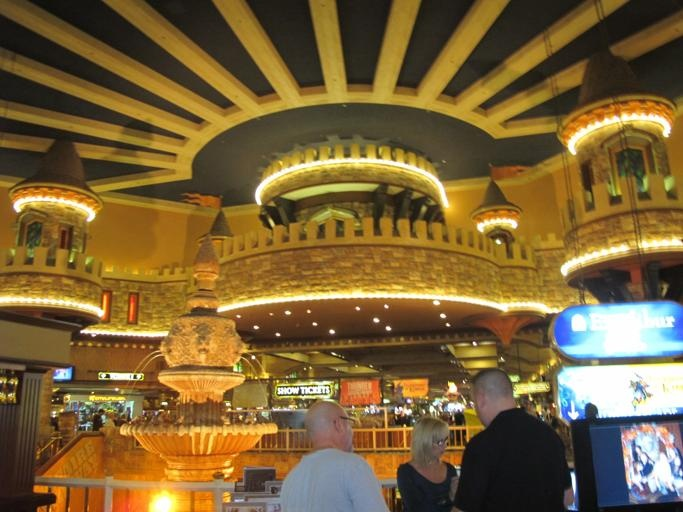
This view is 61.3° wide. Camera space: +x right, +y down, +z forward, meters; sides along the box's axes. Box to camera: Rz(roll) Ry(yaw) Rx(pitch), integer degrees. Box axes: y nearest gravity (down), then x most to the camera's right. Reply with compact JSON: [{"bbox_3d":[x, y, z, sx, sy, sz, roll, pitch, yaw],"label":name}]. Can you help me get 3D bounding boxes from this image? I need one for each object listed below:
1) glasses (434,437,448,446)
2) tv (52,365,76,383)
[{"bbox_3d":[1.204,2.202,6.861,0.097,0.028,0.097,-22,-12,31],"label":"glasses"},{"bbox_3d":[-11.397,4.718,23.368,0.723,0.630,1.269,0,-17,-7],"label":"tv"}]
